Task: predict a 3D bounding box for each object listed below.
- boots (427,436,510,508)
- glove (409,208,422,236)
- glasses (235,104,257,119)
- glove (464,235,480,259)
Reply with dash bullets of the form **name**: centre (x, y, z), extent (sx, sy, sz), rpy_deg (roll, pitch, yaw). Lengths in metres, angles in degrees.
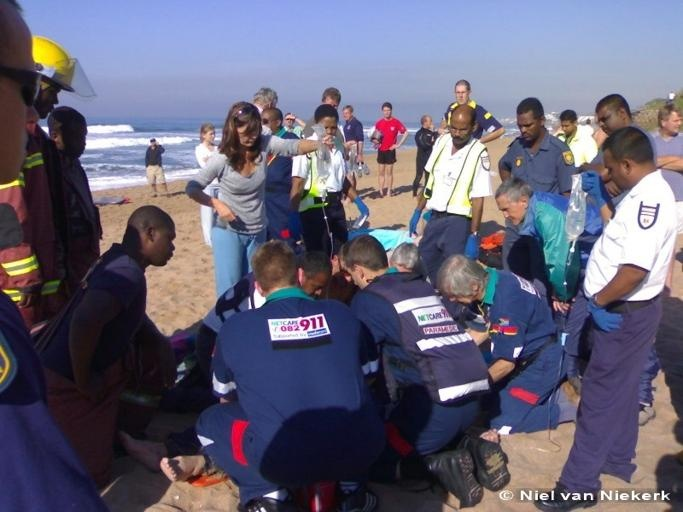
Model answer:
- **boots**: centre (0.892, 1.500, 4.010), extent (0.212, 0.541, 0.405), rpy_deg (1, 47, 51)
- **glove**: centre (0.915, -0.385, 6.877), extent (0.097, 0.367, 0.261), rpy_deg (7, 24, -4)
- **glasses**: centre (-0.824, -1.272, 4.927), extent (0.126, 0.135, 0.042), rpy_deg (-3, 60, -17)
- **glove**: centre (1.406, -0.106, 6.104), extent (0.069, 0.252, 0.173), rpy_deg (-7, -2, 41)
